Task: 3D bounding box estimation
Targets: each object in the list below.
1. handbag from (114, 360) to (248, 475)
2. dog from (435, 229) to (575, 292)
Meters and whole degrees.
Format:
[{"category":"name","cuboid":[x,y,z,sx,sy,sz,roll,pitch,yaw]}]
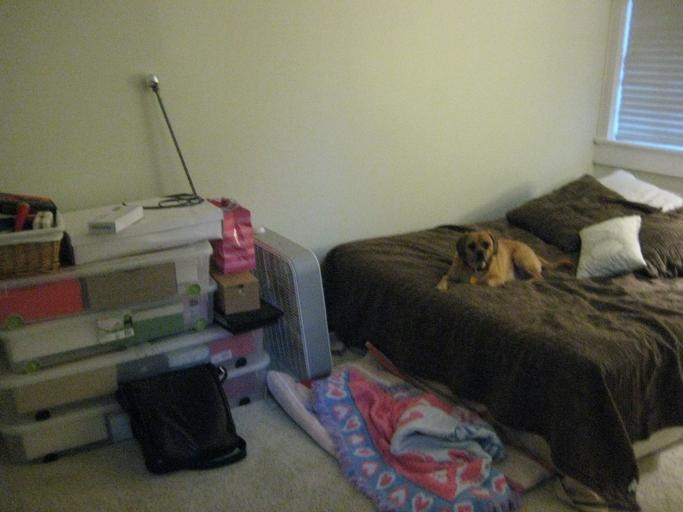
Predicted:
[{"category":"handbag","cuboid":[-0.611,0.630,2.017,0.401,0.269,0.369,-14,21,-26]},{"category":"dog","cuboid":[0.837,0.011,2.778,0.494,0.211,0.332,-15,9,-40]}]
